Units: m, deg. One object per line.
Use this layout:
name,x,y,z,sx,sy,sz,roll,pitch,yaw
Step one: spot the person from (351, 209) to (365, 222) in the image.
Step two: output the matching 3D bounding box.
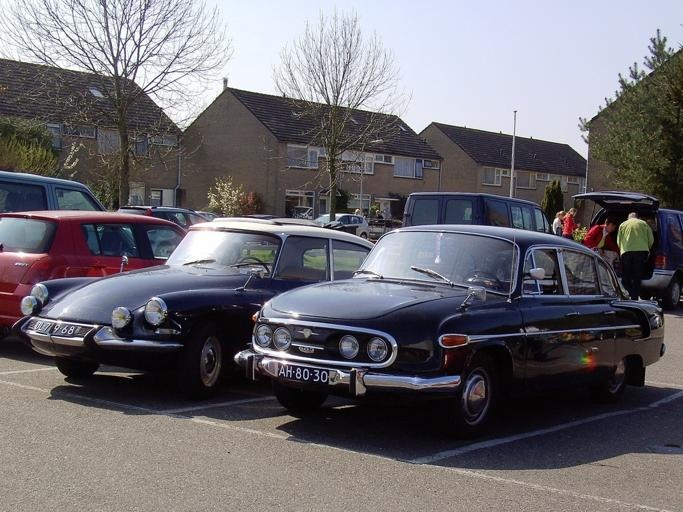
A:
person,1.191,-2.889,41.140,0.961,0.919,2.021,0,-5,6

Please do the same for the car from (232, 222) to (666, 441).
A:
car,1.372,0.666,5.970,3.662,1.346,2.101,3,-3,-45

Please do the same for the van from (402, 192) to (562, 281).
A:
van,4.261,-0.738,17.022,2.045,1.823,3.572,3,5,44
